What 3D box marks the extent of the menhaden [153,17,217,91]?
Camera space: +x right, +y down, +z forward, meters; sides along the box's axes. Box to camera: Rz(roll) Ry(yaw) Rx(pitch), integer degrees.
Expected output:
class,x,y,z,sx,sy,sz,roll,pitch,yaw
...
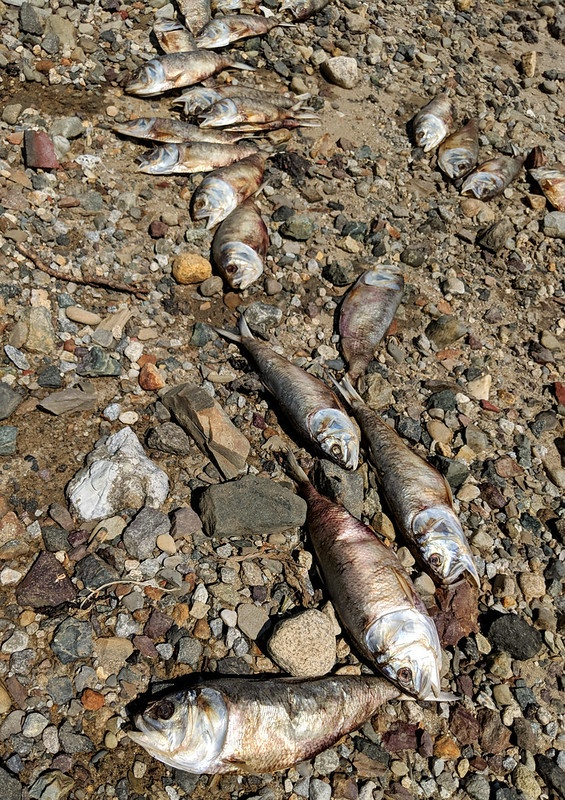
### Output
class,x,y,z,sx,sy,sz,roll,pitch,yaw
menhaden,-0.787,-2.937,7.235,0.710,0.315,0.158,15,13,-42

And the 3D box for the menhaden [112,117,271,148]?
class,x,y,z,sx,sy,sz,roll,pitch,yaw
menhaden,-0.672,-2.009,6.811,1.294,0.249,0.285,-3,47,-19

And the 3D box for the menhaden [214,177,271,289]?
class,x,y,z,sx,sy,sz,roll,pitch,yaw
menhaden,-0.273,-1.172,6.326,0.352,0.209,0.627,11,64,32

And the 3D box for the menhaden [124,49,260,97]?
class,x,y,z,sx,sy,sz,roll,pitch,yaw
menhaden,-0.713,-2.680,6.950,0.994,0.283,0.304,-20,61,-24

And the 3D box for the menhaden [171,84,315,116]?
class,x,y,z,sx,sy,sz,roll,pitch,yaw
menhaden,-0.349,-2.429,7.062,1.218,0.250,0.292,-8,53,-31

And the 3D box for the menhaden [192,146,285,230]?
class,x,y,z,sx,sy,sz,roll,pitch,yaw
menhaden,-0.374,-1.603,6.617,0.255,0.327,1.021,23,53,35

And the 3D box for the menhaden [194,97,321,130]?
class,x,y,z,sx,sy,sz,roll,pitch,yaw
menhaden,-0.233,-2.311,7.020,1.098,0.197,0.300,-9,56,-31

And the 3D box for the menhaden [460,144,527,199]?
class,x,y,z,sx,sy,sz,roll,pitch,yaw
menhaden,1.804,-1.947,7.472,0.847,0.172,0.315,-29,74,-32

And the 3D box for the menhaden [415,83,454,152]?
class,x,y,z,sx,sy,sz,roll,pitch,yaw
menhaden,1.356,-2.451,7.612,0.225,0.272,0.710,29,63,3
